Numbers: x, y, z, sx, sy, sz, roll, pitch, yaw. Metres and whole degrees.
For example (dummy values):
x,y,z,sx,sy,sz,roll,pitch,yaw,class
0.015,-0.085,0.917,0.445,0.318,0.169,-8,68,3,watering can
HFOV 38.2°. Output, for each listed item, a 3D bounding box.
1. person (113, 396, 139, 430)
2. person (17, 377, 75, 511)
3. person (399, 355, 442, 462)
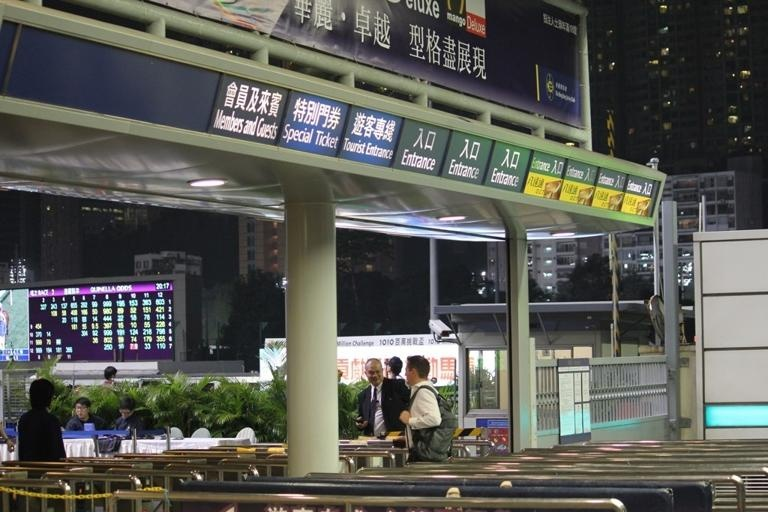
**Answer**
x,y,z,sx,sy,sz,roll,pitch,yaw,class
-4.948,2.983,21.276,0.413,0.672,1.072,2,-13,-13,person
-4.898,2.340,15.867,0.655,1.139,0.490,3,-13,-18,person
0.523,2.147,15.827,0.582,1.501,0.426,-6,-13,24,person
